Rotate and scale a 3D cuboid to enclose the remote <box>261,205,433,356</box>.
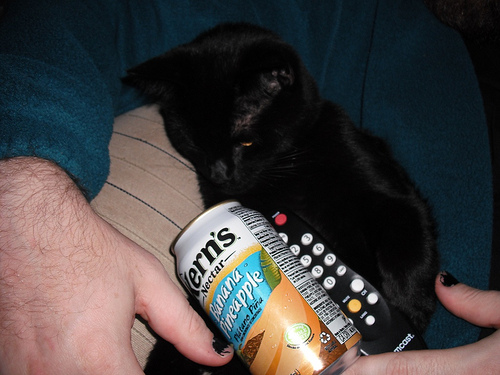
[{"bbox_3d":[0.178,0.190,0.953,0.163,0.056,0.486,-29,73,-21],"label":"remote"}]

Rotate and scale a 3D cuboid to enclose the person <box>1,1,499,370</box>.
[{"bbox_3d":[-0.007,-0.045,0.896,1.006,0.257,0.820,-3,72,1],"label":"person"}]

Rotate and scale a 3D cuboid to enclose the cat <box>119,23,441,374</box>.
[{"bbox_3d":[0.147,-0.101,1.367,0.548,0.819,0.835,-6,101,22],"label":"cat"}]
